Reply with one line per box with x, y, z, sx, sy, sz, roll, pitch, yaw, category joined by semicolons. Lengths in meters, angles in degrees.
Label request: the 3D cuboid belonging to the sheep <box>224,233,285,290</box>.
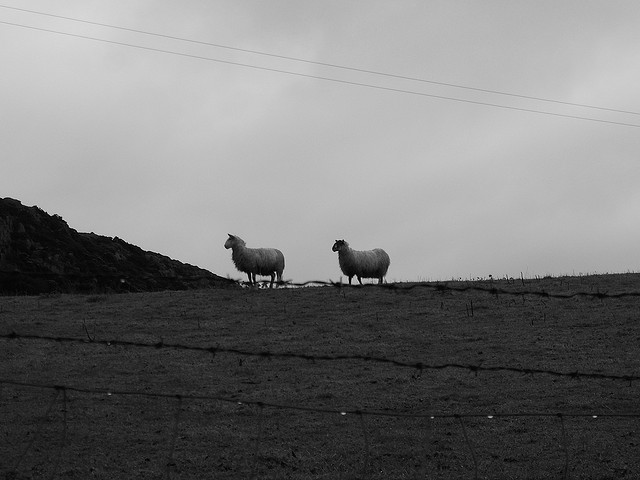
-2.225;0.795;26.589;2.166;2.047;0.869;2;8;-19;sheep

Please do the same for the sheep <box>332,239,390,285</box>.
1.415;0.890;26.321;2.214;1.706;0.894;4;-2;-22;sheep
